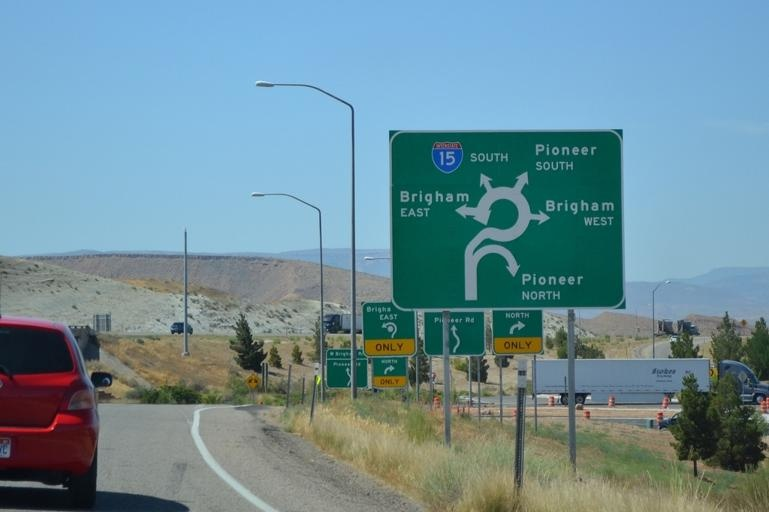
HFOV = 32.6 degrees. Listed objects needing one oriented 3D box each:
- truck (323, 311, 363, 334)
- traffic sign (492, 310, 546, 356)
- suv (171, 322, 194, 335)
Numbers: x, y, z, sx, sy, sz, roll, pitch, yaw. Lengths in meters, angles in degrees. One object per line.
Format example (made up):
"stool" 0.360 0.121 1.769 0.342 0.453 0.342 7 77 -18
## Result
"truck" -4.676 6.324 142.869 4.610 2.821 3.161 1 -3 0
"traffic sign" 7.857 4.417 78.152 2.593 2.888 0.385 0 -5 3
"suv" -22.341 7.775 144.560 1.722 1.535 2.801 3 9 25
